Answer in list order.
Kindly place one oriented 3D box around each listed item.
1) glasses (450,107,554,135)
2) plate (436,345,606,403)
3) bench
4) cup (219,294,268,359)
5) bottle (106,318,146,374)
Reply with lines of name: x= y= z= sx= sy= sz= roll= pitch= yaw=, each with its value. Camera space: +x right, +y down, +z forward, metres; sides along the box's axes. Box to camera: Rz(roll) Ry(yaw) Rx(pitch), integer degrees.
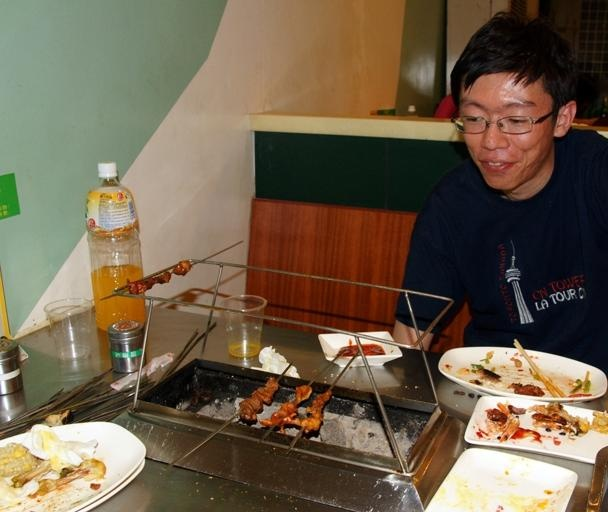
glasses: x=0.497 y=-0.337 z=1.236 sx=0.244 sy=0.056 sz=0.157 roll=7 pitch=14 yaw=29
plate: x=0.496 y=0.267 z=1.097 sx=0.212 sy=0.025 sz=0.154 roll=5 pitch=20 yaw=24
bench: x=0.143 y=0.017 z=2.073 sx=0.945 sy=0.618 sz=0.222 roll=12 pitch=11 yaw=16
cup: x=-0.155 y=0.187 z=1.246 sx=0.127 sy=0.142 sz=0.135 roll=5 pitch=11 yaw=-1
bottle: x=-0.435 y=0.223 z=1.190 sx=0.090 sy=0.099 sz=0.090 roll=-5 pitch=10 yaw=-29
